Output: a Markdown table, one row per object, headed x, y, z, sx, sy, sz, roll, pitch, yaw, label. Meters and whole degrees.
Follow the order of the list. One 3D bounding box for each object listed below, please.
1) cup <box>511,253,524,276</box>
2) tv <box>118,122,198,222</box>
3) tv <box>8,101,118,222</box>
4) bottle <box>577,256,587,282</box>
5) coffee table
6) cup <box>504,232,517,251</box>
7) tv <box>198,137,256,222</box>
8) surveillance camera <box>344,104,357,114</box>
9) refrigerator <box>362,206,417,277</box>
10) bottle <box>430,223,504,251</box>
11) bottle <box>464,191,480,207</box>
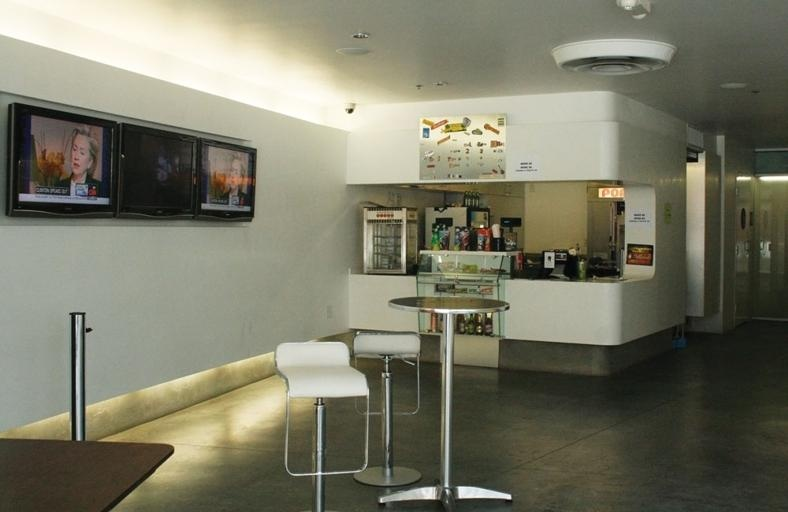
| x | y | z | sx | sy | sz | roll | pitch | yaw | label |
| --- | --- | --- | --- | --- | --- | --- | --- | --- | --- |
| 1.662 | 0.092 | 8.802 | 0.156 | 0.320 | 0.089 | 2 | 7 | 11 | cup |
| -2.353 | -0.842 | 6.447 | 0.113 | 1.047 | 1.106 | 0 | -1 | 34 | tv |
| -2.864 | -0.831 | 5.717 | 0.062 | 0.933 | 0.929 | 6 | 9 | 37 | tv |
| 2.484 | 0.150 | 8.711 | 0.098 | 0.269 | 0.398 | 2 | 7 | 13 | bottle |
| 0.438 | 1.134 | 5.300 | 1.021 | 1.575 | 0.825 | 1 | 7 | 9 | coffee table |
| 1.569 | -0.213 | 8.921 | 0.223 | 0.328 | 0.208 | 1 | 2 | 0 | cup |
| -1.846 | -0.834 | 7.217 | 0.070 | 0.887 | 0.838 | 4 | 8 | 31 | tv |
| -0.613 | -2.060 | 9.098 | 0.129 | 0.107 | 0.145 | 1 | 4 | 22 | surveillance camera |
| 0.017 | -0.233 | 9.584 | 0.925 | 1.273 | 0.929 | -1 | -2 | 21 | refrigerator |
| 0.997 | -0.271 | 8.977 | 0.961 | 0.363 | 0.442 | 7 | 10 | 41 | bottle |
| 1.198 | -0.905 | 10.213 | 0.120 | 0.284 | 0.360 | 1 | 2 | 34 | bottle |
